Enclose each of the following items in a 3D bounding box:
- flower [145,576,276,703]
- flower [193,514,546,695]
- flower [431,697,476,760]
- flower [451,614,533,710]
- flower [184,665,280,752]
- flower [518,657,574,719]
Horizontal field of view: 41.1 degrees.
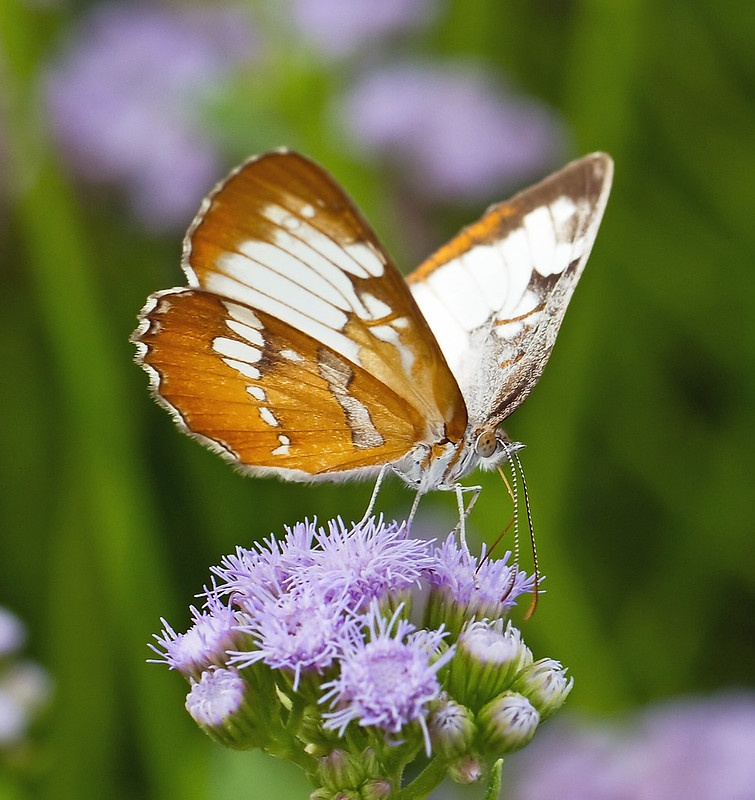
[{"bbox_3d":[-0.347,0.542,2.454,0.277,0.290,0.182,33,70,-14],"label":"flower"},{"bbox_3d":[-0.083,0.426,2.381,0.520,0.476,0.204,-17,86,19],"label":"flower"},{"bbox_3d":[0.187,0.741,2.282,0.111,0.119,0.100,0,56,15],"label":"flower"},{"bbox_3d":[0.257,0.613,2.342,0.113,0.165,0.151,33,42,21],"label":"flower"},{"bbox_3d":[-0.336,0.707,2.318,0.201,0.164,0.142,2,40,4],"label":"flower"},{"bbox_3d":[0.391,0.680,2.428,0.148,0.145,0.099,-1,79,-35],"label":"flower"}]
